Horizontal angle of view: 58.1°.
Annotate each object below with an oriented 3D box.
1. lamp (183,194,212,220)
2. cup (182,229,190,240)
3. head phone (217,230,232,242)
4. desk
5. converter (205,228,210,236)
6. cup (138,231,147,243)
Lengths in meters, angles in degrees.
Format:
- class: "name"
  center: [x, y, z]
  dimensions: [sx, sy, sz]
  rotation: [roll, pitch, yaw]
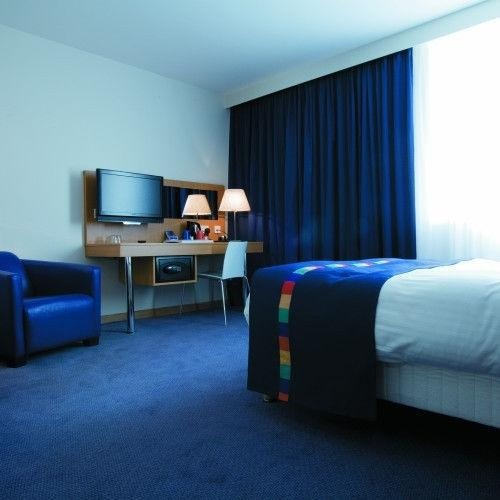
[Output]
- class: "lamp"
  center: [-0.566, -0.456, 4.734]
  dimensions: [0.200, 0.260, 0.239]
  rotation: [-1, -2, -1]
- class: "cup"
  center: [-0.662, -0.163, 4.631]
  dimensions: [0.062, 0.160, 0.077]
  rotation: [2, -2, -15]
- class: "head phone"
  center: [-0.286, -0.161, 5.017]
  dimensions: [0.066, 0.119, 0.237]
  rotation: [-1, 8, 10]
- class: "desk"
  center: [-0.578, 0.283, 4.441]
  dimensions: [0.565, 0.972, 1.926]
  rotation: [10, 8, 40]
- class: "converter"
  center: [-0.458, -0.199, 4.813]
  dimensions: [0.041, 0.059, 0.058]
  rotation: [8, 13, -3]
- class: "cup"
  center: [-1.037, -0.134, 4.316]
  dimensions: [0.074, 0.186, 0.075]
  rotation: [1, -2, 0]
